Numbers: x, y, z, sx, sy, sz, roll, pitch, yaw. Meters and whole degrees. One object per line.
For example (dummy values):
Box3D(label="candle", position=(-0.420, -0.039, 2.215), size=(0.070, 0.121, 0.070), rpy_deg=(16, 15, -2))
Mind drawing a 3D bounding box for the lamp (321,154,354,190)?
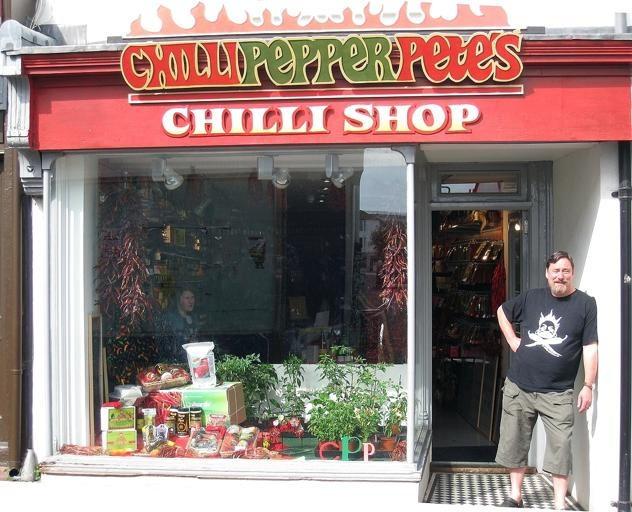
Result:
Box3D(label="lamp", position=(0.212, -0.835, 7.286), size=(0.323, 0.355, 0.220), rpy_deg=(0, 4, 1))

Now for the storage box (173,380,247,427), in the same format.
Box3D(label="storage box", position=(-1.071, 1.558, 7.583), size=(0.641, 0.474, 0.365), rpy_deg=(-5, 1, 26))

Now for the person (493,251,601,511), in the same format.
Box3D(label="person", position=(2.150, 1.155, 6.963), size=(0.904, 2.377, 0.320), rpy_deg=(0, -1, 22))

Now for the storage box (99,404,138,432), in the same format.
Box3D(label="storage box", position=(-1.962, 1.618, 7.422), size=(0.378, 0.287, 0.221), rpy_deg=(1, -14, -6))

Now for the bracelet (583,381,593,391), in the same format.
Box3D(label="bracelet", position=(2.515, 1.196, 6.827), size=(0.137, 0.078, 0.066), rpy_deg=(0, -1, -37))

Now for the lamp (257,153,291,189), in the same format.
Box3D(label="lamp", position=(-0.417, -0.814, 7.317), size=(0.348, 0.350, 0.219), rpy_deg=(2, 11, 0))

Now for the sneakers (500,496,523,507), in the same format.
Box3D(label="sneakers", position=(1.881, 2.318, 7.050), size=(0.268, 0.106, 0.099), rpy_deg=(6, -11, -17))

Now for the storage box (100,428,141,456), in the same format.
Box3D(label="storage box", position=(-1.944, 1.841, 7.391), size=(0.371, 0.283, 0.217), rpy_deg=(1, -2, 1))

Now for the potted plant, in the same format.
Box3D(label="potted plant", position=(0.471, 1.460, 7.676), size=(1.212, 1.365, 0.874), rpy_deg=(-1, -6, 7))
